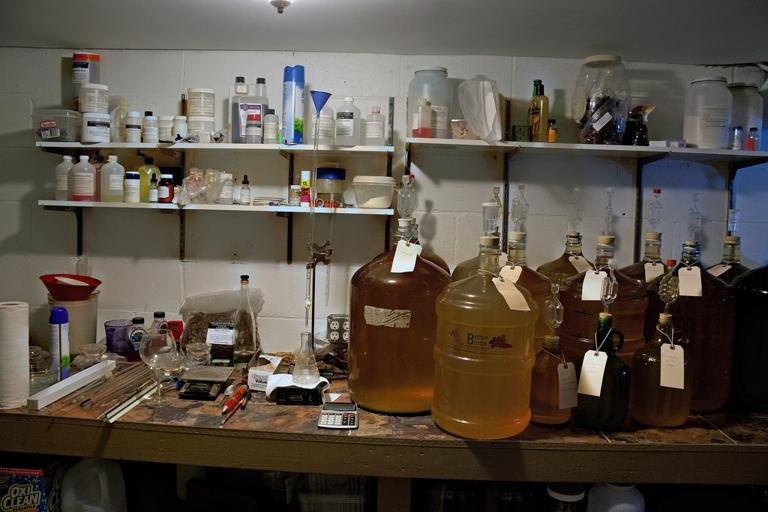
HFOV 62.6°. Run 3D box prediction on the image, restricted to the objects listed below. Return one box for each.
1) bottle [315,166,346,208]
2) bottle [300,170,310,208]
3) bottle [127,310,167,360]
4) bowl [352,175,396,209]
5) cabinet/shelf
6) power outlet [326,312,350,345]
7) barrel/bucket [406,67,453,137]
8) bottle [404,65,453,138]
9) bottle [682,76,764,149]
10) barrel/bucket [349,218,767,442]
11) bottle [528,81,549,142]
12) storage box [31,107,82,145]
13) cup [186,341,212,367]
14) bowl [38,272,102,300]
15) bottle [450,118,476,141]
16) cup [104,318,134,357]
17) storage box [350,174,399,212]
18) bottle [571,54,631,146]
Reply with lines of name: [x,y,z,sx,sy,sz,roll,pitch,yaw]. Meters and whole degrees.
bottle: [-0.270,-0.337,3.183,0.195,0.227,0.192,1,0,3]
bottle: [-0.388,-0.332,3.141,0.060,0.171,0.087,-2,8,-7]
bottle: [-1.140,0.392,3.052,0.214,0.286,0.098,6,10,8]
bowl: [-0.050,-0.298,3.072,0.175,0.109,0.174,0,2,0]
cabinet/shelf: [-0.781,-0.365,3.224,1.702,0.396,0.240,-1,4,-8]
power outlet: [-0.221,0.381,3.225,0.139,0.130,0.137,1,-1,11]
barrel/bucket: [0.229,-0.743,3.176,0.235,0.389,0.228,0,1,0]
bottle: [0.227,-0.744,3.178,0.230,0.380,0.226,1,7,0]
bottle: [1.607,-0.687,3.069,0.444,0.408,0.270,1,5,7]
barrel/bucket: [0.714,0.357,2.789,1.221,1.034,0.664,9,9,38]
bottle: [0.773,-0.715,3.145,0.092,0.301,0.177,1,9,13]
storage box: [-1.632,-0.646,3.143,0.200,0.119,0.195,2,10,-1]
cup: [-0.891,0.482,3.078,0.102,0.095,0.103,1,3,0]
bowl: [-1.592,0.155,3.243,0.264,0.123,0.253,-1,9,0]
bottle: [0.390,-0.614,3.094,0.119,0.096,0.092,1,9,8]
cup: [-1.355,0.421,3.306,0.145,0.143,0.176,2,-5,3]
storage box: [-0.044,-0.312,3.166,0.248,0.156,0.240,3,3,1]
bottle: [1.061,-0.751,3.088,0.260,0.408,0.237,-1,8,0]
